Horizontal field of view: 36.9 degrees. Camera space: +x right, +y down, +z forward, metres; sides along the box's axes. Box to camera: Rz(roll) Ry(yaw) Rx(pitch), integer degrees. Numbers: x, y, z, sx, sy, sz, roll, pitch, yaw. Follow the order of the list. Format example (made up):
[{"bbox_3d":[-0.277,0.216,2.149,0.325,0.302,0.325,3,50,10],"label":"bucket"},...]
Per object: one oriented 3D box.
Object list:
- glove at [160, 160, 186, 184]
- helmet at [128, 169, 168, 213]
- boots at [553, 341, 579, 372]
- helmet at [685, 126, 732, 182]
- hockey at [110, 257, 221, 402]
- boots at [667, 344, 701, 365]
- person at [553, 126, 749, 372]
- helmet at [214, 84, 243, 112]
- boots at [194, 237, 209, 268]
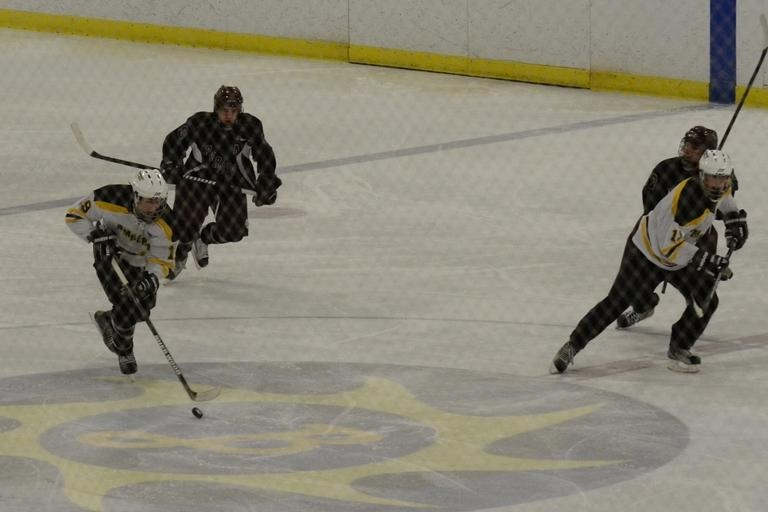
[{"bbox_3d":[-1.683,-0.667,9.072,0.208,0.146,0.208,0,9,-11],"label":"glove"},{"bbox_3d":[-1.577,-0.419,7.675,0.257,0.305,0.200,8,15,14],"label":"helmet"},{"bbox_3d":[1.246,0.687,7.815,0.099,0.216,0.211,17,19,39],"label":"boots"},{"bbox_3d":[2.199,-0.773,8.203,0.413,0.330,0.424,-3,10,-2],"label":"helmet"},{"bbox_3d":[-1.537,0.545,7.978,1.359,0.150,0.259,42,29,28],"label":"hockey"},{"bbox_3d":[2.041,0.676,7.879,0.256,0.079,0.103,19,18,25],"label":"boots"},{"bbox_3d":[1.872,0.020,7.885,1.286,1.543,0.665,2,15,-8],"label":"person"},{"bbox_3d":[-1.198,-1.229,9.003,0.268,0.217,0.264,3,28,-1],"label":"helmet"},{"bbox_3d":[-1.466,-0.012,9.283,0.116,0.098,0.256,2,39,-23],"label":"boots"}]
